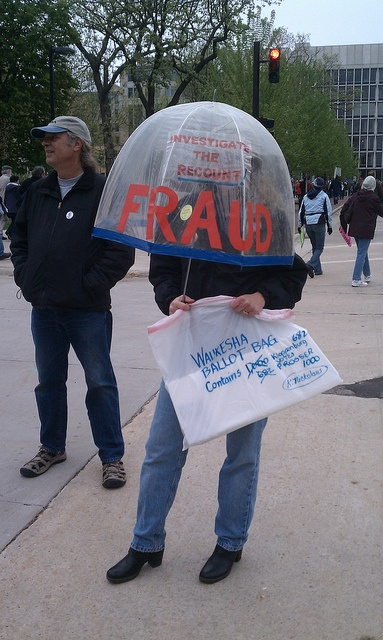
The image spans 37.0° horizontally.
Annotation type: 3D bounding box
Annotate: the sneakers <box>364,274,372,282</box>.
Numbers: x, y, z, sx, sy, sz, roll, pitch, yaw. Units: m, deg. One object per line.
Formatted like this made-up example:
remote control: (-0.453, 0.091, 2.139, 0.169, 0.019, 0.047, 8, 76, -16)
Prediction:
sneakers: (3.211, -0.765, 10.439, 0.116, 0.170, 0.361, 1, 6, 16)

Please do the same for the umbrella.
umbrella: (0.045, -0.501, 2.144, 0.730, 0.630, 0.752, 11, 11, 16)

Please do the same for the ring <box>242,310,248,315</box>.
ring: (0.193, -0.024, 2.023, 0.011, 0.016, 0.007, 19, 52, 19)

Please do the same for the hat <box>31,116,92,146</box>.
hat: (-0.652, -0.933, 2.887, 0.232, 0.118, 0.152, -1, 13, -43)

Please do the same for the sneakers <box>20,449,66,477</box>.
sneakers: (-0.823, 0.787, 3.155, 0.081, 0.102, 0.249, -8, -5, 22)

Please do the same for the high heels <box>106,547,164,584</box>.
high heels: (-0.229, 0.930, 2.223, 0.251, 0.147, 0.087, 7, 0, -31)

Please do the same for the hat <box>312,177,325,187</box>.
hat: (2.588, -2.848, 11.670, 0.161, 0.221, 0.218, -2, -15, 6)

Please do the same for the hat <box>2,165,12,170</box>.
hat: (-4.550, -3.737, 14.113, 0.173, 0.061, 0.178, 11, 21, 39)

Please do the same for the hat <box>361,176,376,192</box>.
hat: (3.176, -2.428, 10.251, 0.221, 0.262, 0.254, 0, 3, 10)

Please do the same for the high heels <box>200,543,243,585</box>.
high heels: (0.116, 0.940, 2.212, 0.070, 0.086, 0.196, -2, -5, 34)

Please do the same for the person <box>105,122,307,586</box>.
person: (0.029, 0.140, 2.013, 0.701, 1.889, 0.489, 3, 15, 7)

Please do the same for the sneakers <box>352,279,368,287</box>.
sneakers: (2.978, -0.639, 10.051, 0.296, 0.142, 0.120, 1, 23, -4)

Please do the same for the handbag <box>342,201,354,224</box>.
handbag: (2.876, -1.957, 10.528, 0.168, 0.444, 0.410, 17, 11, 7)
